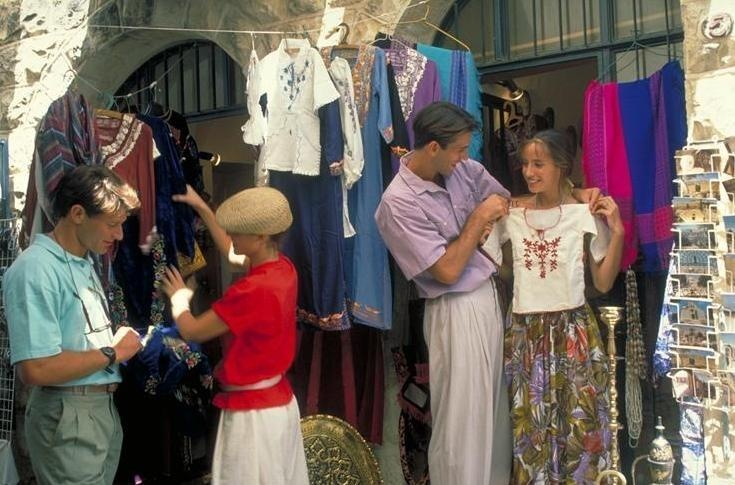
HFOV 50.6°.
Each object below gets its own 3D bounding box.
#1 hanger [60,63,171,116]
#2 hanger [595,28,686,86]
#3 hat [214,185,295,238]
[{"bbox_3d":[-2.142,-1.308,6.563,0.746,0.297,0.644,-17,8,-42],"label":"hanger"},{"bbox_3d":[1.779,-1.199,5.075,0.543,0.262,0.197,-4,-5,25],"label":"hanger"},{"bbox_3d":[-0.621,-0.171,4.228,0.273,0.116,0.305,18,23,23],"label":"hat"}]
